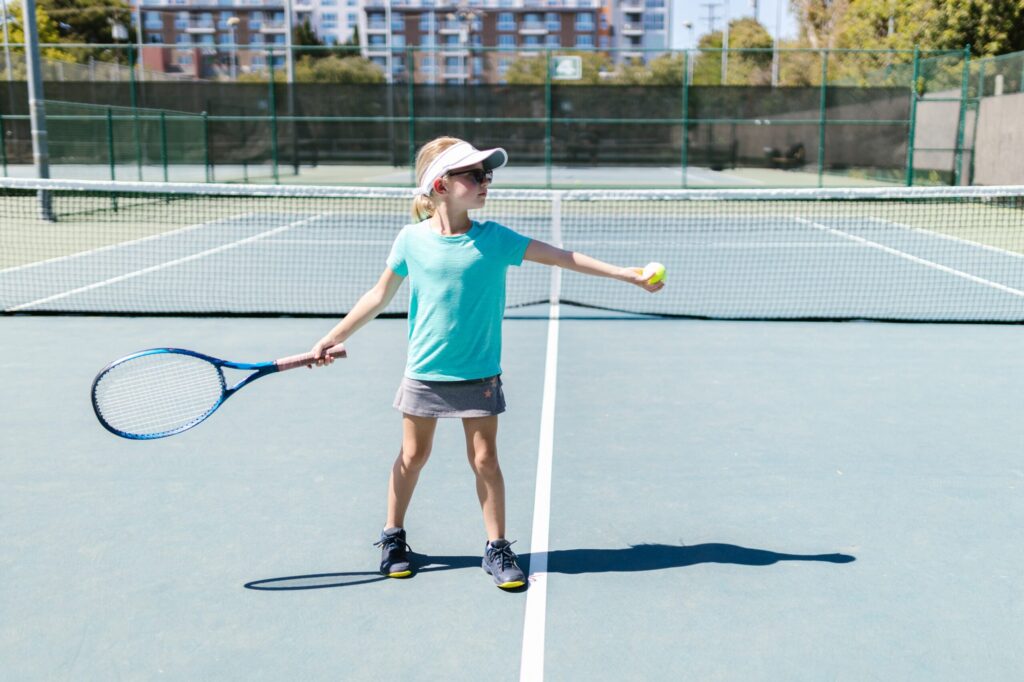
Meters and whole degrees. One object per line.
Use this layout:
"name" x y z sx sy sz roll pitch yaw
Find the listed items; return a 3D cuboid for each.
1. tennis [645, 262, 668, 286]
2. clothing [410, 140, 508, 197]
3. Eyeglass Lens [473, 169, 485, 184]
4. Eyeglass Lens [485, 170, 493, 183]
"tennis" 0.906 -0.424 6.689 0.128 0.135 0.312 3 14 11
"clothing" -0.313 -1.060 6.683 0.565 0.344 0.222 -1 14 -5
"Eyeglass Lens" -0.194 -1.012 6.657 0.077 0.075 0.034 3 6 -28
"Eyeglass Lens" -0.134 -1.018 6.722 0.069 0.030 0.068 -2 49 -11
